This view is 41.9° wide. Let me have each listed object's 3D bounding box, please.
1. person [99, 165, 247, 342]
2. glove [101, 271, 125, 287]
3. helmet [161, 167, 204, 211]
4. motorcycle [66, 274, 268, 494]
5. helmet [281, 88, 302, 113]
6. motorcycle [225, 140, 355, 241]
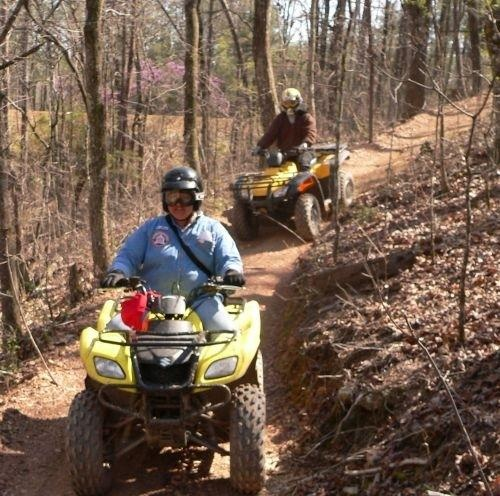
[{"bbox_3d":[-0.580,0.053,5.065,0.965,1.316,0.962,4,10,-5],"label":"person"},{"bbox_3d":[-0.979,0.219,4.631,0.101,0.036,0.120,-6,27,10],"label":"glove"},{"bbox_3d":[-0.545,-0.473,5.086,0.302,0.317,0.408,-2,7,-13],"label":"helmet"},{"bbox_3d":[-0.559,0.950,4.921,1.089,1.103,1.708,-2,-2,1],"label":"motorcycle"},{"bbox_3d":[0.688,-2.445,10.776,0.306,0.398,0.532,-3,5,6],"label":"helmet"},{"bbox_3d":[0.787,-1.040,10.974,1.291,1.390,2.819,-2,14,28],"label":"motorcycle"}]
